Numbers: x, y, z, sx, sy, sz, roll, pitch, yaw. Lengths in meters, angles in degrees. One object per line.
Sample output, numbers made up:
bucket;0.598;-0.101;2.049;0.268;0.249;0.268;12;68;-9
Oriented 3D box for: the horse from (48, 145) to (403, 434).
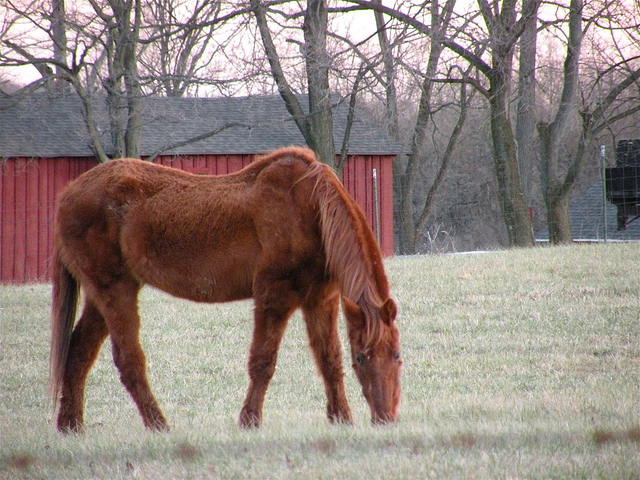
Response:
horse;-1.934;1.219;25.940;4.980;4.071;1.936;-1;-9;10
